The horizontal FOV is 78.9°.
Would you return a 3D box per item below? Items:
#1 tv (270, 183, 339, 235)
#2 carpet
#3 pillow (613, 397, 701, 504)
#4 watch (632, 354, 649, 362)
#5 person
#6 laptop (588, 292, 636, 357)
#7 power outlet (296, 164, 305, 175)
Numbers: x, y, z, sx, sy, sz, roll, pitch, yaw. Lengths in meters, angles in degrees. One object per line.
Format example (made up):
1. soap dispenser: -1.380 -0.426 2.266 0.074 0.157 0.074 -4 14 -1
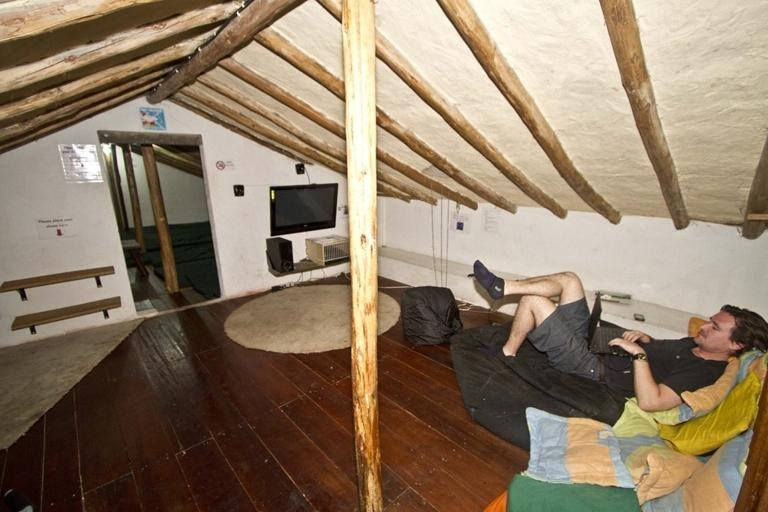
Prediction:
1. tv: -1.104 -0.659 6.364 0.738 0.507 0.077 -8 21 -32
2. carpet: -1.075 0.710 5.471 1.373 0.408 1.620 0 6 -6
3. pillow: 1.840 1.332 3.264 0.506 0.184 0.554 -4 4 -4
4. watch: 1.931 0.764 3.525 0.078 0.056 0.084 14 -25 6
5. person: 1.853 0.840 4.065 2.025 0.865 1.039 16 52 34
6. laptop: 1.909 0.490 4.091 0.464 0.414 0.657 8 18 19
7. power outlet: -1.106 -1.174 6.282 0.160 0.151 0.092 0 13 -8
